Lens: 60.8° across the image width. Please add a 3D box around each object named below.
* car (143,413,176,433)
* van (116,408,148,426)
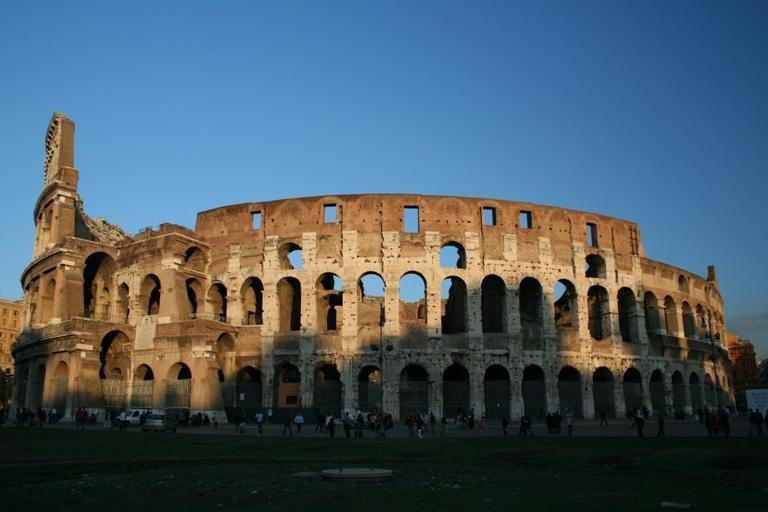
[{"bbox_3d":[-14.193,10.655,42.028,1.228,0.879,1.959,0,-6,-1],"label":"car"},{"bbox_3d":[-17.330,11.221,45.286,2.180,1.126,1.418,8,-17,-17],"label":"van"}]
